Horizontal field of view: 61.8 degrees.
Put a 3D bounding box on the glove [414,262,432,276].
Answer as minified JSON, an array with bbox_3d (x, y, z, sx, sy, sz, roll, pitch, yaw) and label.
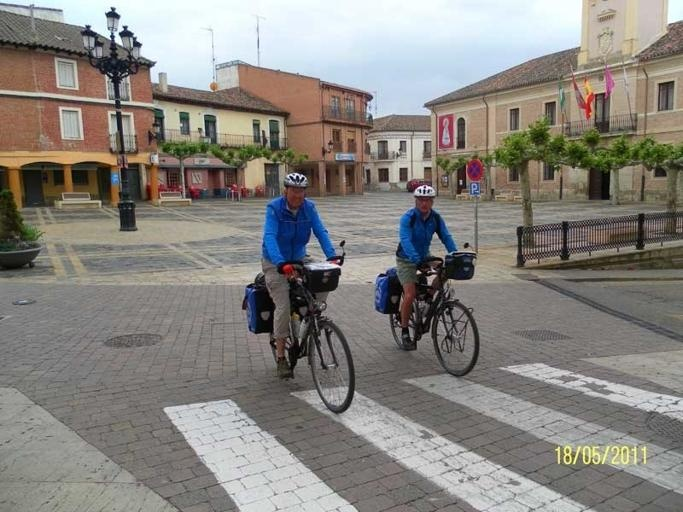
[{"bbox_3d":[1.051,0.168,7.039,0.164,0.155,0.063,-5,-15,43],"label":"glove"}]

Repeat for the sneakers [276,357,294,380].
[{"bbox_3d":[-0.653,1.297,6.578,0.125,0.131,0.318,-1,-1,-24],"label":"sneakers"}]

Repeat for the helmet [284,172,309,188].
[{"bbox_3d":[-0.467,-0.793,6.014,0.189,0.102,0.268,0,4,-11],"label":"helmet"}]

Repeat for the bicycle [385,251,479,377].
[{"bbox_3d":[1.182,0.689,6.910,1.645,0.981,0.702,12,16,-48],"label":"bicycle"}]

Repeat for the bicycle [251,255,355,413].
[{"bbox_3d":[-0.382,0.779,6.098,0.515,1.477,1.663,-8,15,-35],"label":"bicycle"}]

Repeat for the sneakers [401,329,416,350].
[{"bbox_3d":[0.861,1.098,7.409,0.125,0.130,0.343,-3,4,-15],"label":"sneakers"}]

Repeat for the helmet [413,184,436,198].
[{"bbox_3d":[1.040,-0.834,7.113,0.219,0.126,0.312,1,0,6],"label":"helmet"}]
